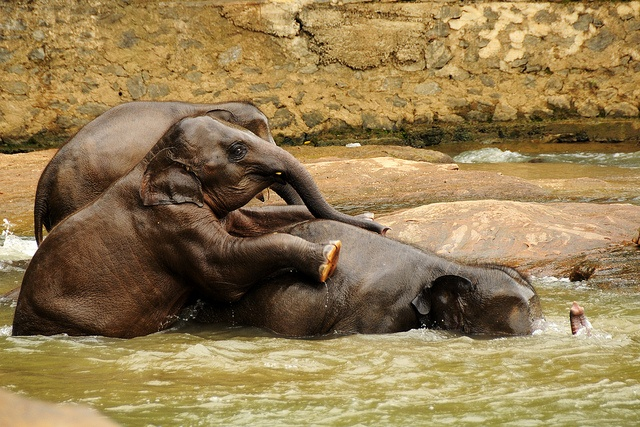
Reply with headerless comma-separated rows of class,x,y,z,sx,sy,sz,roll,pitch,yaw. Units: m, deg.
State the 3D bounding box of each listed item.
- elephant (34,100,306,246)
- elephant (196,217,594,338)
elephant,-2.020,-0.703,9.519,3.172,1.298,1.136,-11,15,-2
elephant,0.827,0.549,8.413,3.168,1.186,1.074,1,19,6
